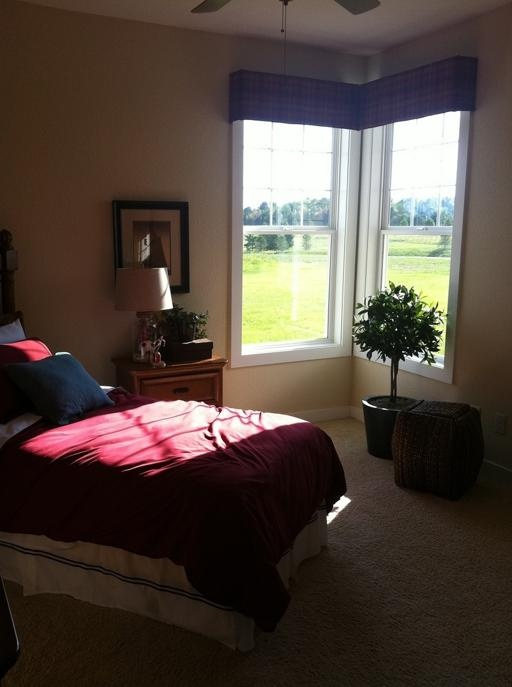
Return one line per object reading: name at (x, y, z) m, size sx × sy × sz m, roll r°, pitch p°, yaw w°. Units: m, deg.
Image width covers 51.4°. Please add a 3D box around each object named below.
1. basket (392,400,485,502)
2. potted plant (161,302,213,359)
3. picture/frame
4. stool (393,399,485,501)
basket at (1.126, 0.646, 3.327) m, size 0.523 × 0.497 × 0.489 m, roll -6°, pitch 8°, yaw -34°
potted plant at (-0.498, -0.080, 3.752) m, size 0.349 × 0.409 × 0.270 m, roll -5°, pitch 10°, yaw -31°
picture/frame at (-0.721, -0.667, 3.575) m, size 0.654 × 0.886 × 0.064 m, roll -5°, pitch 8°, yaw -39°
stool at (1.115, 0.644, 3.277) m, size 0.440 × 0.519 × 0.418 m, roll 5°, pitch 6°, yaw 38°
